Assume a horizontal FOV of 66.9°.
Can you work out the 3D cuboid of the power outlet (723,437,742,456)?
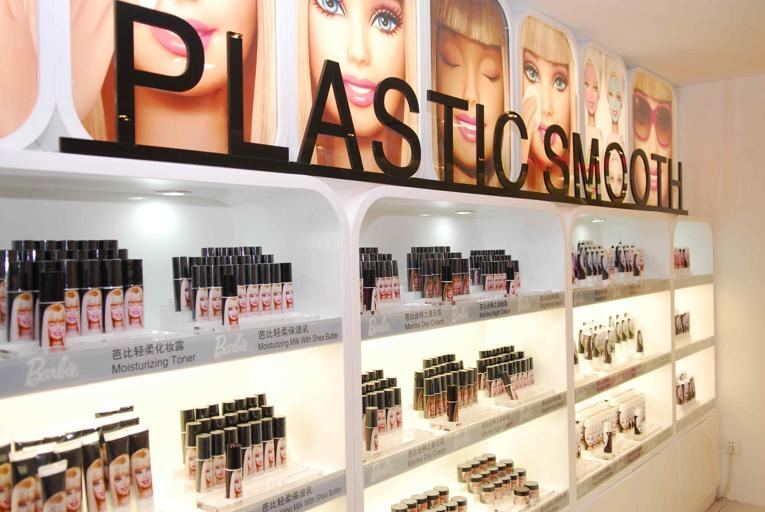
[{"bbox_3d":[3.206,1.737,5.302,0.152,0.171,0.052,-5,-9,41],"label":"power outlet"}]
